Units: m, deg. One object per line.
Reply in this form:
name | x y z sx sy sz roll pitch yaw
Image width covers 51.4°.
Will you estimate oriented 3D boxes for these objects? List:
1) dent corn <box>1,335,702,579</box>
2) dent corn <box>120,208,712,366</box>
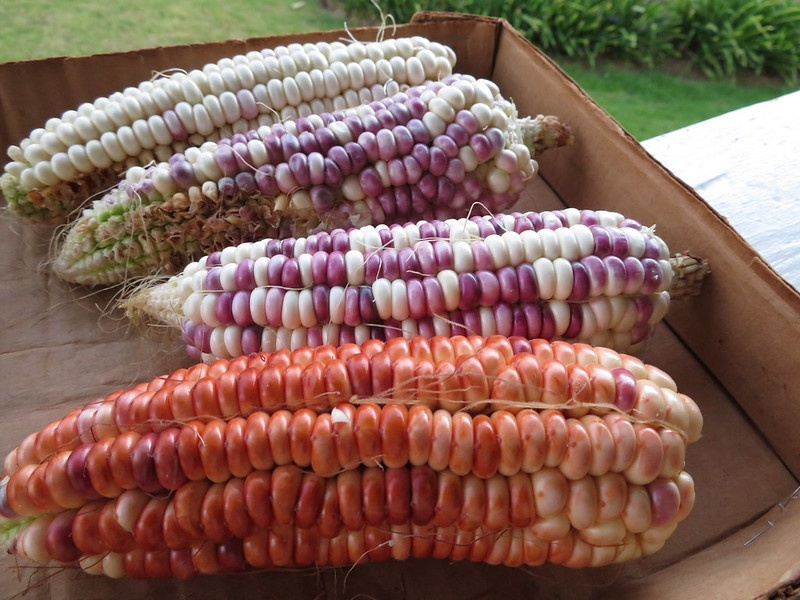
dent corn | -0.081 0.281 1.480 1.226 0.257 0.358 -5 53 -1
dent corn | -0.085 -0.020 1.784 1.346 0.397 0.365 -1 27 8
